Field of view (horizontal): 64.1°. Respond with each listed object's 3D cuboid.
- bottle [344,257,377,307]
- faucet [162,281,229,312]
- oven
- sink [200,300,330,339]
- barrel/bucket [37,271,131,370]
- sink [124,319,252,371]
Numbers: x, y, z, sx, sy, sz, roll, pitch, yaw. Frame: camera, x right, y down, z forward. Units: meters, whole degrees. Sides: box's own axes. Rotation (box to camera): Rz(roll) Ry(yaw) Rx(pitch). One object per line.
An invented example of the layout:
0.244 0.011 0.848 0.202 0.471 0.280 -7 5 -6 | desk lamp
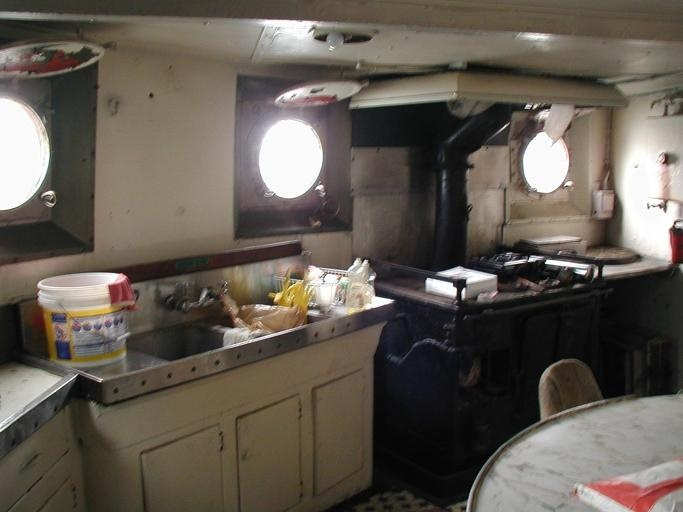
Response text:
0.104 0.140 3.066 0.231 0.368 0.225 -1 7 0 | bottle
-0.773 0.197 2.936 0.122 0.135 0.340 5 12 34 | faucet
0.984 0.797 3.775 1.430 1.081 0.875 -1 5 -36 | oven
-0.426 0.330 2.823 0.383 0.126 0.272 8 0 7 | sink
-1.075 0.267 2.366 0.397 0.360 0.387 1 7 0 | barrel/bucket
-0.810 0.430 2.762 0.310 0.191 0.313 8 9 37 | sink
